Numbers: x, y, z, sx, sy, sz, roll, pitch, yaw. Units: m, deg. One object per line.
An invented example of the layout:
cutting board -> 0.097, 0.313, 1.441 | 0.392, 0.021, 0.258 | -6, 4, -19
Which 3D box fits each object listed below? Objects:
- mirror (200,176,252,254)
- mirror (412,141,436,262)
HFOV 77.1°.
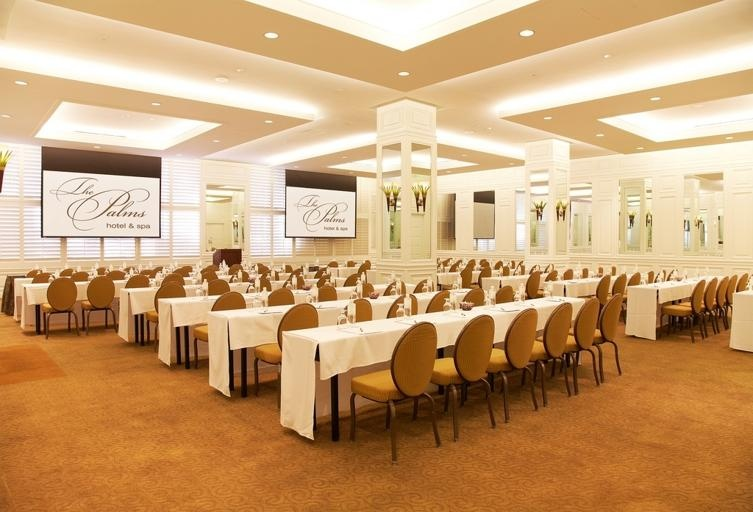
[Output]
mirror -> -5.233, -1.293, 16.513 | 1.440, 2.394, 2.087 | -3, 9, -17
mirror -> 0.932, -0.891, 9.951 | 0.559, 2.170, 0.086 | 1, -21, 0
